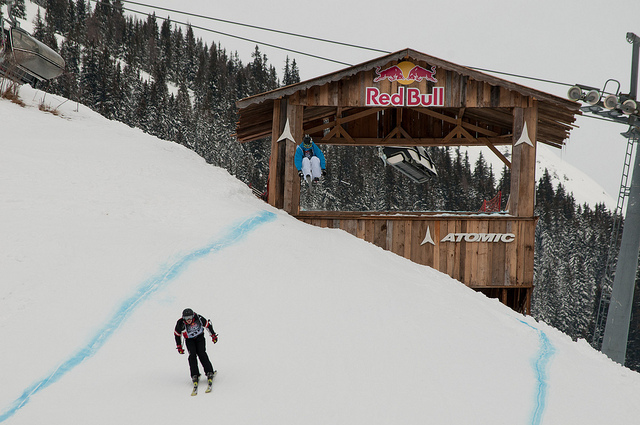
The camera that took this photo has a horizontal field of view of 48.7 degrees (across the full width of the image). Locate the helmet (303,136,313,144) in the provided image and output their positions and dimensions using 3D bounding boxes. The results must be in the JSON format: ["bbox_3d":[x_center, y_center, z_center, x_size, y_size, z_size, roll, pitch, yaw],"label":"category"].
[{"bbox_3d":[-0.388,-2.247,22.071,0.228,0.172,0.374,0,8,5],"label":"helmet"}]

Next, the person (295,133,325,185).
[{"bbox_3d":[-0.311,-1.636,22.023,0.898,1.509,0.930,4,3,-1],"label":"person"}]

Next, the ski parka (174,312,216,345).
[{"bbox_3d":[-2.835,2.676,16.307,0.884,0.836,0.533,-12,31,-7],"label":"ski parka"}]
